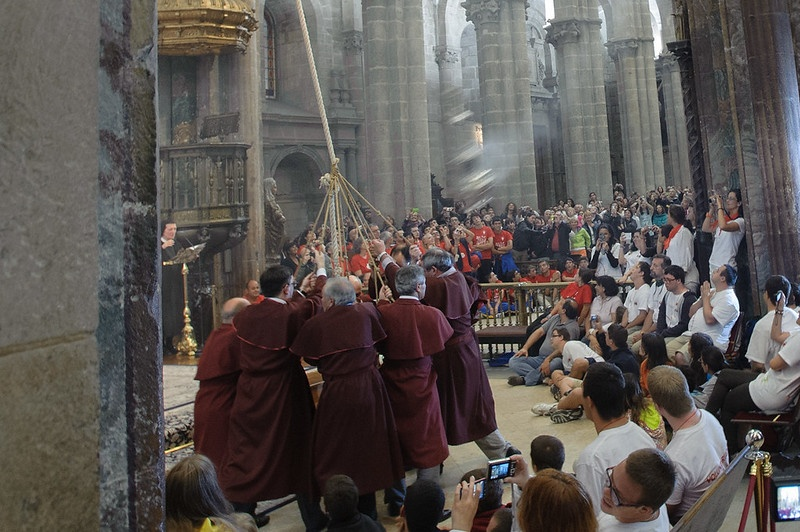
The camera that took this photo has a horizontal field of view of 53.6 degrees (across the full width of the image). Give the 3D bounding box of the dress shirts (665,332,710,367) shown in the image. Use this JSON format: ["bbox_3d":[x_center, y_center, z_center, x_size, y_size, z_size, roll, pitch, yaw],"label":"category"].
[{"bbox_3d":[3.125,0.910,9.016,0.508,0.205,0.289,-21,10,-28],"label":"dress shirts"}]

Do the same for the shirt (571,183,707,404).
[{"bbox_3d":[3.864,0.080,11.533,1.869,3.177,1.512,3,-5,-1],"label":"shirt"}]

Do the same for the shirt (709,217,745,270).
[{"bbox_3d":[4.134,-0.287,10.041,0.419,0.505,0.421,-3,1,21],"label":"shirt"}]

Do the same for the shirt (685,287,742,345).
[{"bbox_3d":[3.631,0.596,9.134,0.488,0.738,0.760,5,8,6],"label":"shirt"}]
